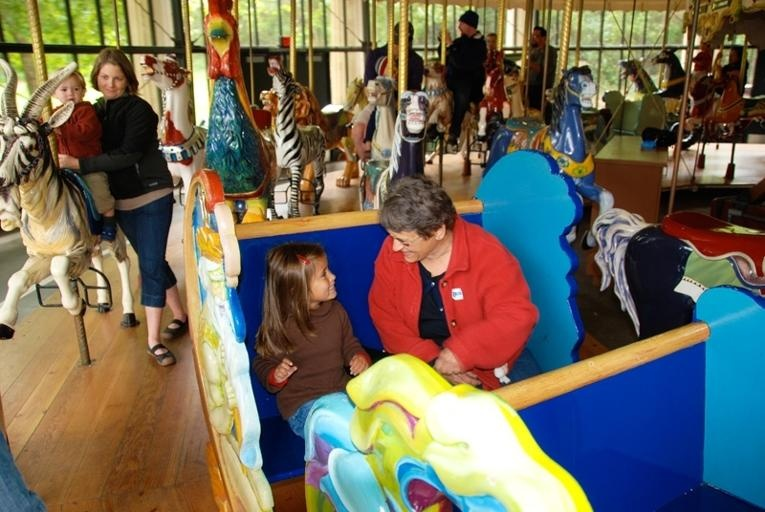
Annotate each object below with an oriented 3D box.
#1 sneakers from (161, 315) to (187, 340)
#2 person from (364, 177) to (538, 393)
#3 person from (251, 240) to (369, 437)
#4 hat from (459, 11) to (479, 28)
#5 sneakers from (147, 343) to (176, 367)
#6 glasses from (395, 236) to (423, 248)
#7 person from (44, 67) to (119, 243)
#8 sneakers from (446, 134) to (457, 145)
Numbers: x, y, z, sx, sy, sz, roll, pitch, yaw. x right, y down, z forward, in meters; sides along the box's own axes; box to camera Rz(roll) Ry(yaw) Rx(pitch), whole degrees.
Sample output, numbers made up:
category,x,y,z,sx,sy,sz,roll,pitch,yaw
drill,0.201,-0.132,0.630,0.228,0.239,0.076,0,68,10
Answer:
category,x,y,z,sx,sy,sz,roll,pitch,yaw
sneakers,-1.496,0.517,3.875,0.085,0.079,0.213,2,11,12
person,0.335,0.155,2.502,0.804,1.054,0.565,-3,16,-2
person,-0.271,0.377,2.454,0.590,0.870,0.491,-5,16,-12
hat,1.134,-3.127,7.105,0.240,0.227,0.327,-1,17,5
sneakers,-1.454,0.648,3.576,0.100,0.077,0.220,-11,19,-37
glasses,0.113,-0.066,2.366,0.071,0.029,0.054,7,10,-8
person,-1.882,-0.630,3.347,0.323,1.022,0.321,1,9,24
sneakers,0.967,-1.601,7.377,0.111,0.148,0.284,3,18,17
